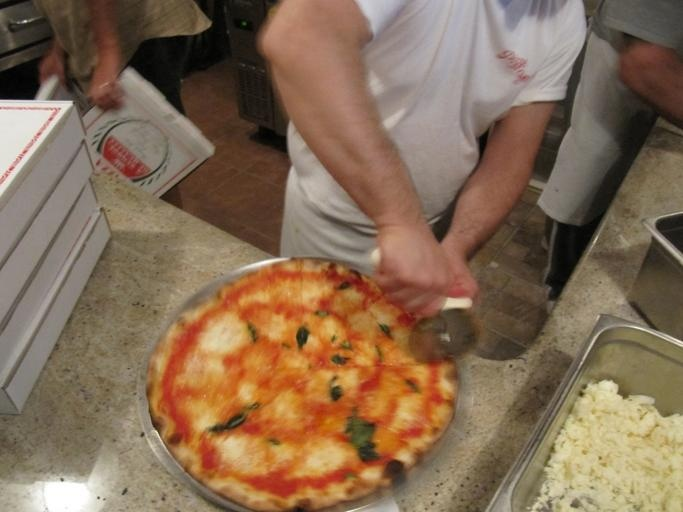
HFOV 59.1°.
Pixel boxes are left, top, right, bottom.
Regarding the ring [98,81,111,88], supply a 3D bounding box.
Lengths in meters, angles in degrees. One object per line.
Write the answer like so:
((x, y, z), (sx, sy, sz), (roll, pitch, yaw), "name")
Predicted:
((-0.675, -0.490, 1.721), (0.030, 0.009, 0.037), (-50, 30, -21), "ring")
